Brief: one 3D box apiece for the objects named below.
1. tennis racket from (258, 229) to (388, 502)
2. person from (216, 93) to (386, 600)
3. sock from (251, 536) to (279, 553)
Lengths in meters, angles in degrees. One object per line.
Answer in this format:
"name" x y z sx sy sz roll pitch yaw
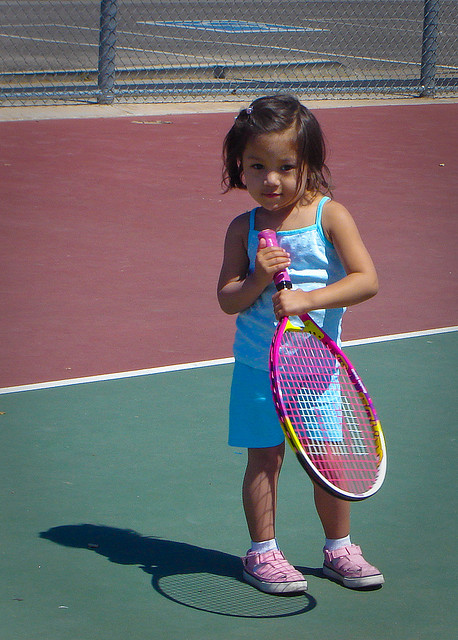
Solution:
"tennis racket" 0.172 0.118 1.828 0.093 0.796 0.285 -37 -41 28
"person" 0.179 0.050 1.746 0.409 1.186 0.582 0 10 -1
"sock" 0.091 0.541 1.748 0.041 0.031 0.043 -2 -27 -20
